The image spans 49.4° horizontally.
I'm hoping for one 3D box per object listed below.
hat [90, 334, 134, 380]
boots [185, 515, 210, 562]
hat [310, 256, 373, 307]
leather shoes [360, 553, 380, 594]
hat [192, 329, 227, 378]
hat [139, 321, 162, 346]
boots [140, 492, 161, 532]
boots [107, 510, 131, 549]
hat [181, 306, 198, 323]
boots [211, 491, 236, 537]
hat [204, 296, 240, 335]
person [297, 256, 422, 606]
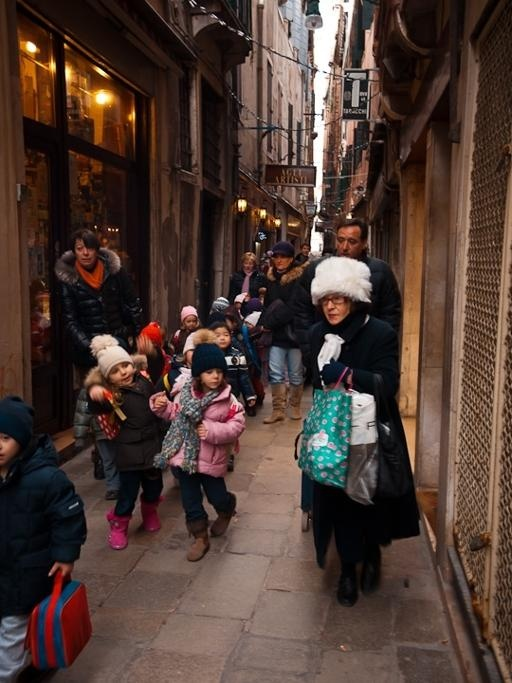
[{"bbox_3d":[-0.851,0.096,3.318,0.222,0.247,0.214,0,2,-15],"label":"hat"},{"bbox_3d":[-0.337,1.170,3.289,0.093,0.255,0.267,-2,8,14],"label":"boots"},{"bbox_3d":[0.392,-0.271,2.574,0.180,0.207,0.244,4,-1,23],"label":"hat"},{"bbox_3d":[0.581,1.184,2.859,0.069,0.088,0.218,-1,21,19],"label":"leather shoes"},{"bbox_3d":[-0.281,0.105,3.338,0.164,0.197,0.226,-4,3,-13],"label":"hat"},{"bbox_3d":[-0.772,-0.062,4.218,0.136,0.167,0.195,0,-7,4],"label":"hat"},{"bbox_3d":[-0.688,1.134,3.673,0.131,0.237,0.238,1,-2,-11],"label":"boots"},{"bbox_3d":[-0.855,1.147,3.412,0.195,0.207,0.107,2,3,41],"label":"boots"},{"bbox_3d":[-0.603,-0.273,5.145,0.152,0.180,0.219,-1,-12,-11],"label":"hat"},{"bbox_3d":[-0.203,1.093,3.505,0.090,0.285,0.193,17,-2,30],"label":"boots"},{"bbox_3d":[-0.336,-0.288,6.145,0.316,0.479,0.477,-2,38,-7],"label":"hat"},{"bbox_3d":[0.451,0.453,2.623,0.514,1.710,0.694,1,2,28],"label":"person"}]
